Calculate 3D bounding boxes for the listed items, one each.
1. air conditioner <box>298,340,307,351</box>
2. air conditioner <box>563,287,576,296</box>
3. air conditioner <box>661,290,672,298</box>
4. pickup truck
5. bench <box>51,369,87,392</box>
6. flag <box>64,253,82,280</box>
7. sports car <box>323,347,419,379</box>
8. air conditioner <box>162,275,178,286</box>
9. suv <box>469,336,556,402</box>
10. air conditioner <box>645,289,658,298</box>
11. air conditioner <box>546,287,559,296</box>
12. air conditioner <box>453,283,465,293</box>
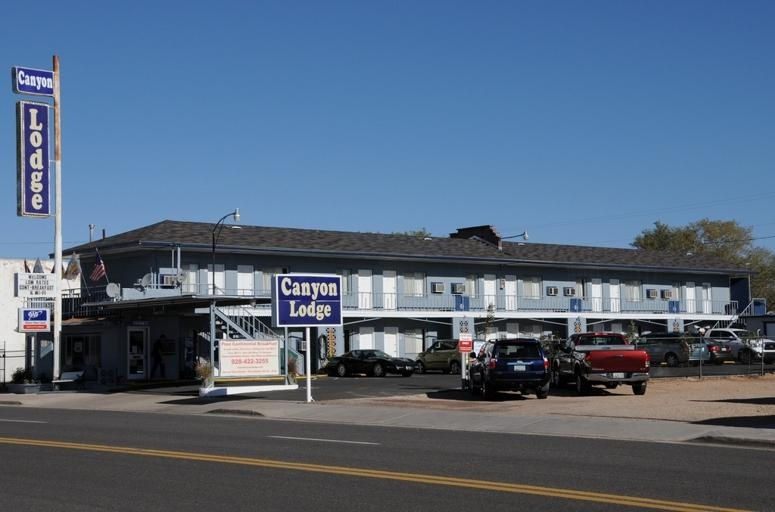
[{"bbox_3d":[-4.942,4.999,57.052,0.327,0.642,1.109,0,-8,-13],"label":"air conditioner"},{"bbox_3d":[12.221,2.377,68.061,0.550,0.728,0.819,0,-1,44],"label":"air conditioner"},{"bbox_3d":[19.761,2.698,71.556,0.501,0.757,0.888,0,-2,-17],"label":"air conditioner"},{"bbox_3d":[8.224,4.115,39.430,2.311,2.066,5.381,0,-3,2],"label":"pickup truck"},{"bbox_3d":[-15.492,5.963,48.520,1.399,0.908,1.622,1,-8,-18],"label":"bench"},{"bbox_3d":[-16.210,0.443,51.454,0.710,1.273,1.913,1,-8,-19],"label":"flag"},{"bbox_3d":[-1.094,5.504,52.168,4.607,1.439,1.500,-6,-9,31],"label":"sports car"},{"bbox_3d":[-11.571,1.271,53.043,0.557,0.687,1.829,2,-8,-24],"label":"air conditioner"},{"bbox_3d":[4.553,4.442,39.775,3.004,2.255,5.239,-2,-8,2],"label":"suv"},{"bbox_3d":[18.646,2.612,71.154,0.854,0.673,0.696,0,-8,-7],"label":"air conditioner"},{"bbox_3d":[10.888,2.347,67.595,0.991,0.830,0.524,2,-2,-22],"label":"air conditioner"},{"bbox_3d":[4.417,2.005,63.795,0.818,0.704,0.540,0,1,-25],"label":"air conditioner"}]
